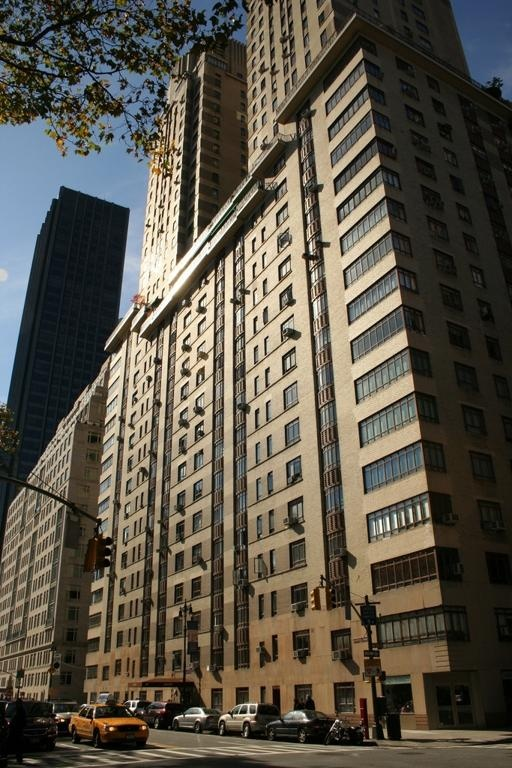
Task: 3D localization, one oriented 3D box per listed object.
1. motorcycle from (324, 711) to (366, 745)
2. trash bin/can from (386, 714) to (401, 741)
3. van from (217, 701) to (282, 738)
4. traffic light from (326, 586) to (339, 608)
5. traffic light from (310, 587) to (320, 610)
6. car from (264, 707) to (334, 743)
[{"bbox_3d":[3.325,13.163,23.368,0.885,0.813,2.038,15,-32,-29],"label":"motorcycle"},{"bbox_3d":[5.294,13.234,23.883,0.489,0.877,0.932,-5,-28,7],"label":"trash bin/can"},{"bbox_3d":[-0.277,15.916,29.805,1.834,1.606,3.541,19,-34,-29],"label":"van"},{"bbox_3d":[4.153,11.738,34.409,0.577,1.271,2.275,-4,-28,6],"label":"traffic light"},{"bbox_3d":[2.986,10.833,31.214,0.401,1.045,1.413,-5,-28,8],"label":"traffic light"},{"bbox_3d":[1.827,14.249,25.745,0.754,1.179,3.464,16,-33,-30],"label":"car"}]
